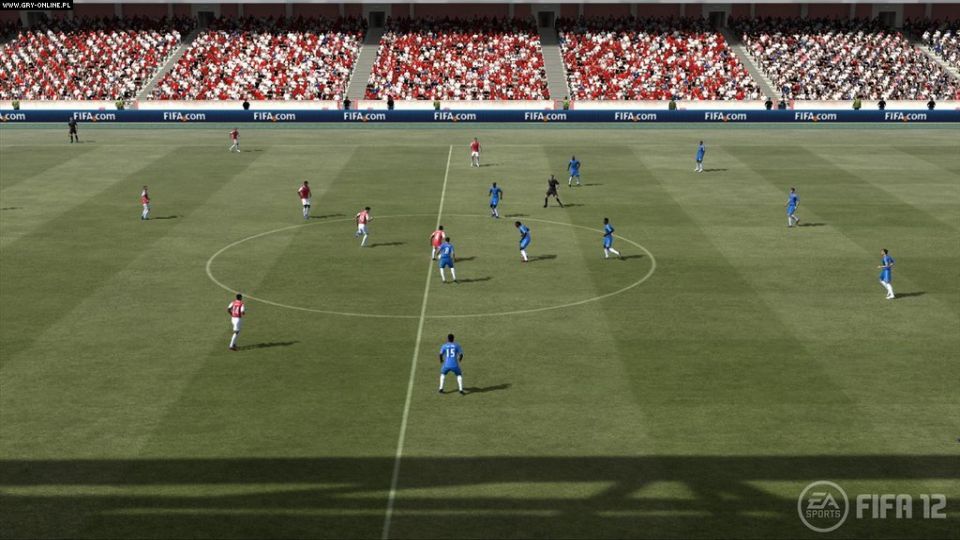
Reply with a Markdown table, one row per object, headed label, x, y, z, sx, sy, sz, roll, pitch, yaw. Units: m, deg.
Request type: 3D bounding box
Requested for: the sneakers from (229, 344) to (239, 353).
| label | x | y | z | sx | sy | sz | roll | pitch | yaw |
| --- | --- | --- | --- | --- | --- | --- | --- | --- | --- |
| sneakers | -10.937 | 3.502 | 41.060 | 0.340 | 0.455 | 0.174 | 12 | 41 | 1 |
